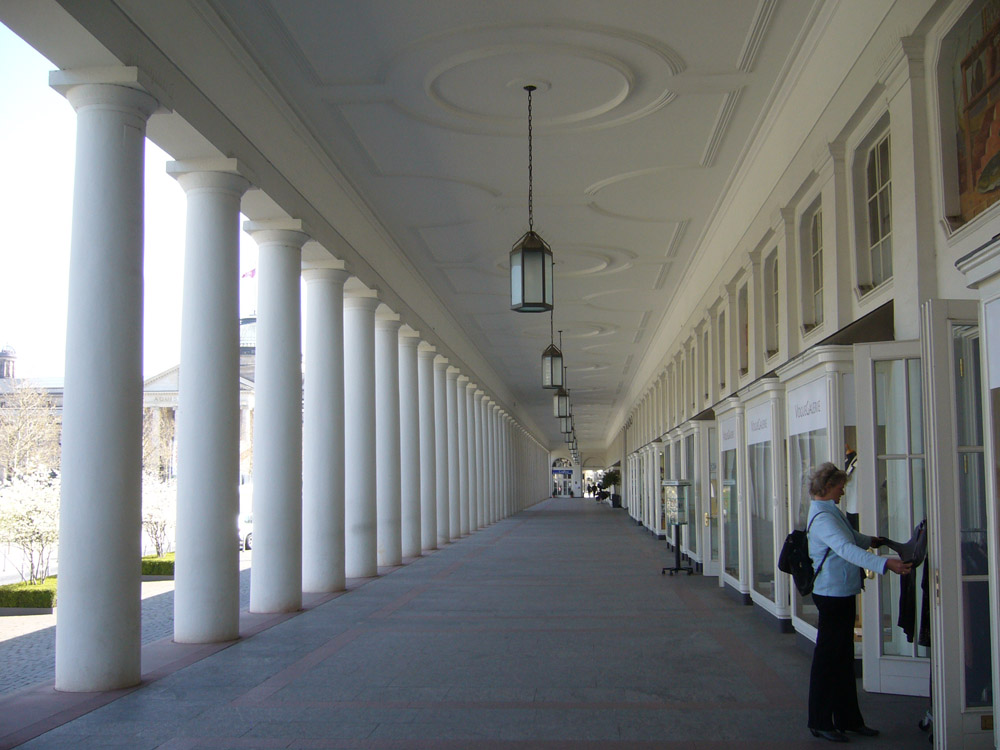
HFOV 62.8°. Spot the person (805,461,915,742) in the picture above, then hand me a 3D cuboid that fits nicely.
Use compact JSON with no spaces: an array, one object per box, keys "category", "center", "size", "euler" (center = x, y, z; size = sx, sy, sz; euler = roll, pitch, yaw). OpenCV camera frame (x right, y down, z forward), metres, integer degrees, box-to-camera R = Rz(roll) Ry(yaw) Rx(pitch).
[{"category":"person","center":[2.875,1.871,6.874],"size":[0.712,2.272,0.479],"euler":[-8,-11,29]}]

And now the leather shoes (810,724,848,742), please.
[{"category":"leather shoes","center":[2.708,2.939,6.729],"size":[0.298,0.139,0.106],"euler":[-9,-3,28]}]

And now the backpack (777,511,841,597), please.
[{"category":"backpack","center":[2.687,1.614,7.186],"size":[0.421,0.562,0.402],"euler":[-8,2,22]}]
